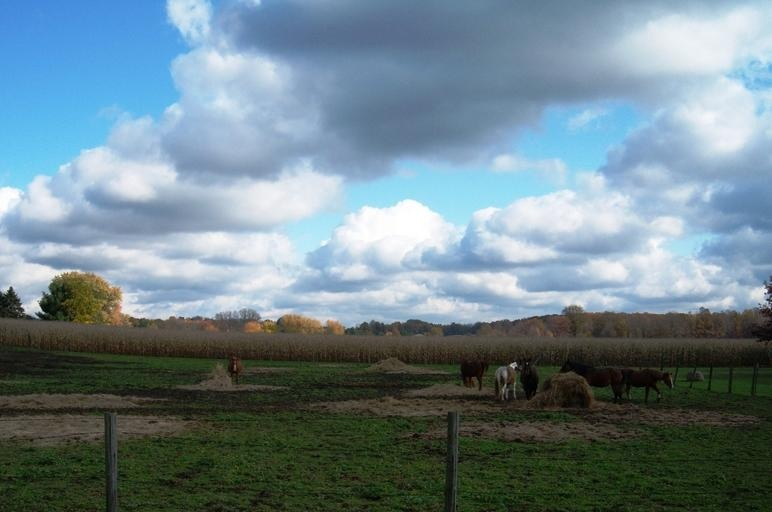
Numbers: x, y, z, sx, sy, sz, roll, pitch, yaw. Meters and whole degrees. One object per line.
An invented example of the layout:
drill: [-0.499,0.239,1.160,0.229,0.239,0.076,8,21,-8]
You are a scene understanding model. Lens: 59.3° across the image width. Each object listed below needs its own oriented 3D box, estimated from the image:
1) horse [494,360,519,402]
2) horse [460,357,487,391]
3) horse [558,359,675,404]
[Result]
horse: [5.593,5.761,31.448,0.679,1.734,2.736,-4,-9,30]
horse: [4.427,6.017,34.430,0.544,1.380,2.075,9,-15,-30]
horse: [10.707,5.681,31.101,5.076,1.873,2.800,4,-10,-44]
